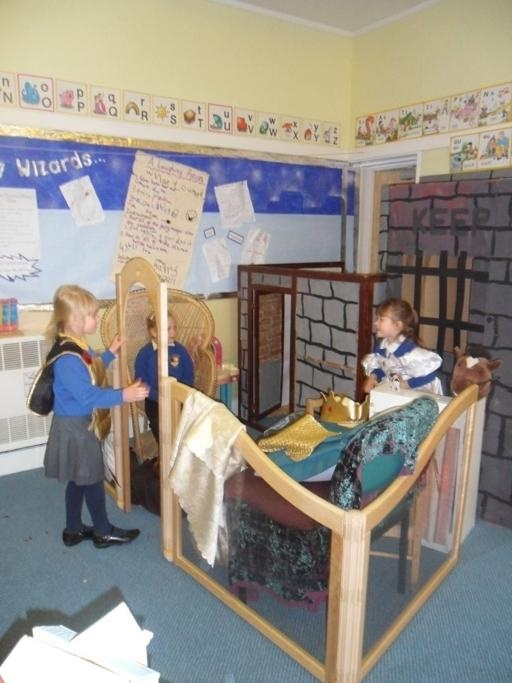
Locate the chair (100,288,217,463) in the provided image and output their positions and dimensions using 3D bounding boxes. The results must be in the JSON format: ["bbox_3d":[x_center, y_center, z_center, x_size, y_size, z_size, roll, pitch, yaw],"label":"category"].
[{"bbox_3d":[-0.577,0.269,3.002,0.704,1.060,0.633,-4,13,-17],"label":"chair"}]

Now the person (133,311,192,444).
[{"bbox_3d":[-0.481,0.293,2.852,0.310,0.910,0.279,-10,17,-27],"label":"person"}]

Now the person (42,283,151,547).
[{"bbox_3d":[-0.729,0.360,2.296,0.418,1.208,0.392,-3,9,-23],"label":"person"}]

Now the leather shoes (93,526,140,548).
[{"bbox_3d":[-0.655,0.919,2.399,0.187,0.078,0.084,-8,13,-26],"label":"leather shoes"}]

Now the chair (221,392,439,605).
[{"bbox_3d":[0.241,0.561,1.827,0.611,0.703,0.522,5,5,34],"label":"chair"}]
